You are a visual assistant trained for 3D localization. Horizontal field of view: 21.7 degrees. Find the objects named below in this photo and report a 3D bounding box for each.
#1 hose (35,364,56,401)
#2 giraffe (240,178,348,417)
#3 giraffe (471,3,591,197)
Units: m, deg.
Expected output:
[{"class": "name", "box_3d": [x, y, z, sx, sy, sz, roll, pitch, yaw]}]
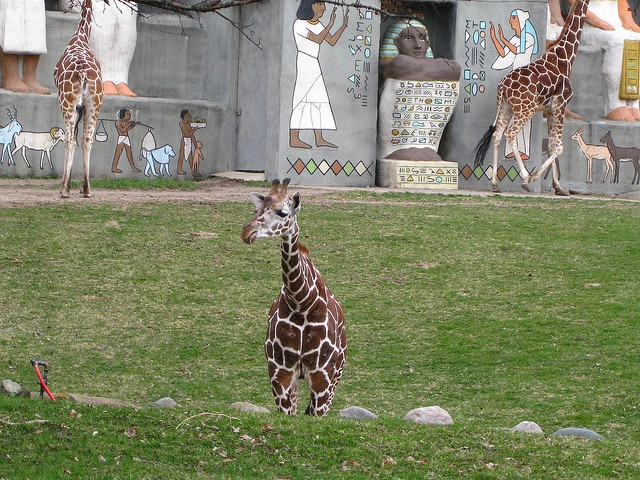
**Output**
[{"class": "hose", "box_3d": [-4.473, 2.304, 27.228, 0.092, 0.696, 0.087, -10, -32, -41]}, {"class": "giraffe", "box_3d": [-0.259, 0.737, 26.989, 1.702, 3.564, 2.205, 0, 14, -6]}, {"class": "giraffe", "box_3d": [5.481, -3.793, 43.115, 2.794, 4.968, 9.566, 2, 3, 7]}]
